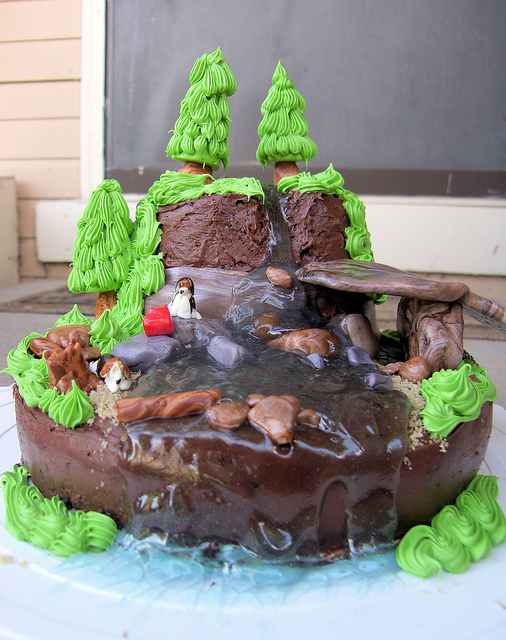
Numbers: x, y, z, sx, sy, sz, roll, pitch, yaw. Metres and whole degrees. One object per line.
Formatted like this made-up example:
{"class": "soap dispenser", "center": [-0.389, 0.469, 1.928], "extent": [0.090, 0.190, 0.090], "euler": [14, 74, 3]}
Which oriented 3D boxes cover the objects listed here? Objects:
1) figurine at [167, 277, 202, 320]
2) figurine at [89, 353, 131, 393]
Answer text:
{"class": "figurine", "center": [-0.293, -0.100, 2.831], "extent": [0.194, 0.160, 0.122], "euler": [17, 25, 29]}
{"class": "figurine", "center": [-0.537, 0.188, 2.504], "extent": [0.143, 0.089, 0.259], "euler": [-10, 22, -22]}
